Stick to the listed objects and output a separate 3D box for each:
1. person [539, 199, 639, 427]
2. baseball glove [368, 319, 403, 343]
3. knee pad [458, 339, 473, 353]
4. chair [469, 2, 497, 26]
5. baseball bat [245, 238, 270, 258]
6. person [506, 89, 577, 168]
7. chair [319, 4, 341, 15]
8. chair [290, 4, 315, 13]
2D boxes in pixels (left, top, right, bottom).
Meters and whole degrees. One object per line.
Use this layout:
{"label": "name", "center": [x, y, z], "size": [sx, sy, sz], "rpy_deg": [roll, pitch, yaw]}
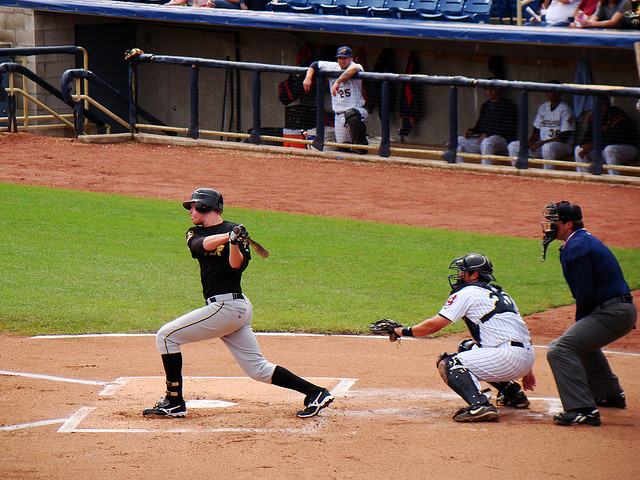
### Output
{"label": "person", "center": [2.886, 0.773, 13.030], "size": [1.048, 2.345, 0.869], "rpy_deg": [2, 4, 9]}
{"label": "baseball glove", "center": [0.703, 0.964, 13.239], "size": [0.550, 0.199, 0.406], "rpy_deg": [1, -10, 9]}
{"label": "knee pad", "center": [1.574, 1.154, 13.205], "size": [0.179, 0.119, 0.113], "rpy_deg": [1, 4, 0]}
{"label": "chair", "center": [3.301, -4.669, 24.971], "size": [0.423, 0.427, 0.395], "rpy_deg": [2, 4, 9]}
{"label": "baseball bat", "center": [-0.650, 0.085, 12.688], "size": [0.377, 0.091, 0.041], "rpy_deg": [35, -6, -21]}
{"label": "person", "center": [4.205, -2.034, 22.661], "size": [1.232, 1.380, 0.658], "rpy_deg": [4, 5, 39]}
{"label": "chair", "center": [0.222, -5.089, 26.886], "size": [0.371, 0.305, 0.309], "rpy_deg": [0, 2, -4]}
{"label": "chair", "center": [-0.363, -5.139, 26.992], "size": [0.517, 0.206, 0.283], "rpy_deg": [3, 4, 34]}
